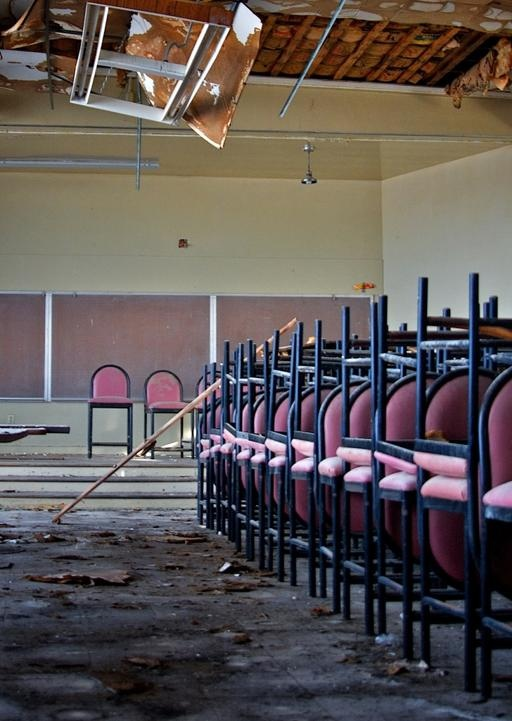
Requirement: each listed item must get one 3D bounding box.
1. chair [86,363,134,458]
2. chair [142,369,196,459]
[{"bbox_3d":[-1.368,0.463,9.185,0.393,0.843,1.238,0,-2,-9],"label":"chair"},{"bbox_3d":[-0.829,0.505,9.281,0.465,0.843,1.712,0,-2,-6],"label":"chair"}]
